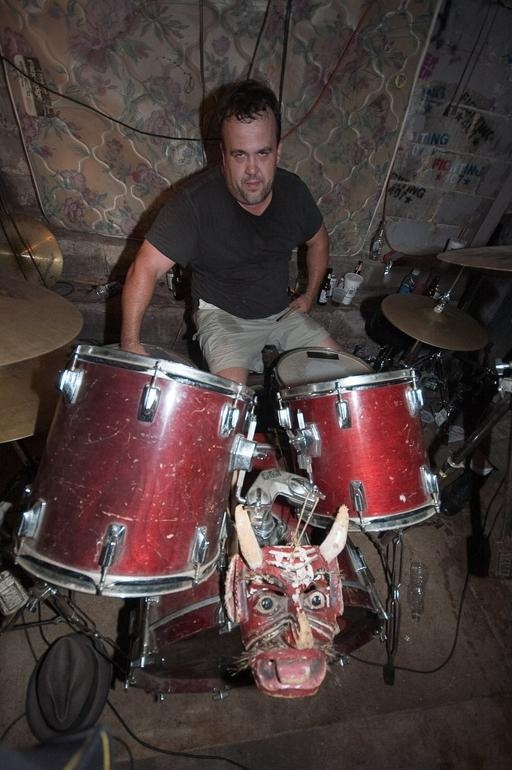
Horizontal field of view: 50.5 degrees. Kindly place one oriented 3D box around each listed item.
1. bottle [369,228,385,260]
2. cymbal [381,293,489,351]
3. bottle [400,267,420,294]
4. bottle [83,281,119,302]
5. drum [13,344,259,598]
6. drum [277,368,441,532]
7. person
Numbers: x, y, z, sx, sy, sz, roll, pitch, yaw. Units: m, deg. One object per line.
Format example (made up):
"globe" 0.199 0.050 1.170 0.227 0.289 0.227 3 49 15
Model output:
"bottle" 0.827 -0.955 3.699 0.085 0.239 0.062 6 39 1
"cymbal" 1.003 -0.386 2.968 0.542 0.172 0.512 -1 38 -12
"bottle" 1.125 -0.760 3.995 0.114 0.170 0.184 17 40 14
"bottle" -0.911 -0.575 3.297 0.157 0.215 0.075 -2 80 -27
"drum" -0.375 0.277 1.714 0.716 0.644 0.600 6 39 1
"drum" 0.367 0.218 2.290 0.649 0.627 0.630 -9 24 -3
"person" -0.067 -0.673 2.567 1.345 1.250 0.594 -22 47 -30
